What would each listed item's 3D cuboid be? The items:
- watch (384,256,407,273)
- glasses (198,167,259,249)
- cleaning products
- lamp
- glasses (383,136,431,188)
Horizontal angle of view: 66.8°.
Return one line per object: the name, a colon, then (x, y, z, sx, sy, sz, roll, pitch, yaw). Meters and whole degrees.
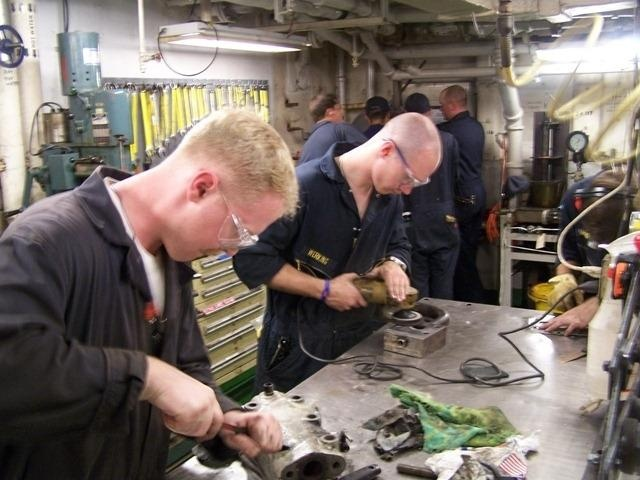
watch: (0.383, 0.127, 2.458, 0.101, 0.065, 0.095, 31, -6, 6)
glasses: (-0.240, -0.069, 1.240, 0.047, 0.145, 0.120, -21, -11, 23)
cleaning products: (0.932, 0.219, 1.554, 0.111, 0.498, 0.320, 4, 14, 26)
lamp: (-0.682, -1.686, 4.037, 0.397, 0.215, 1.327, 5, 13, 30)
glasses: (0.388, -0.352, 2.217, 0.060, 0.211, 0.210, -37, -12, 23)
